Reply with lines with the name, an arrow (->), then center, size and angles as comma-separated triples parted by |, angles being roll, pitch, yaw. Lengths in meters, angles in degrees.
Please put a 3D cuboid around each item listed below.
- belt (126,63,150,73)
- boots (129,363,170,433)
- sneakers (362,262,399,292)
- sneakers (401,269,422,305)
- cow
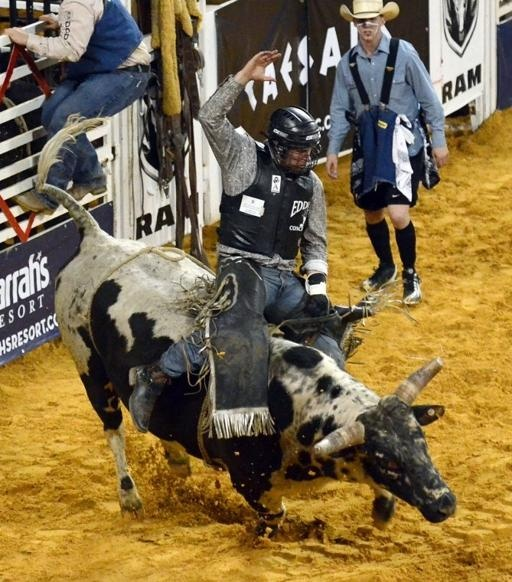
belt -> -0.864, -1.598, 7.012 | 0.100, 0.034, 0.137 | 1, 4, 21
boots -> -0.558, 0.532, 5.117 | 0.170, 0.150, 0.412 | -15, 57, 19
sneakers -> 0.993, -0.104, 7.907 | 0.273, 0.118, 0.099 | -39, 25, -18
sneakers -> 1.261, -0.019, 8.103 | 0.115, 0.152, 0.355 | -2, 39, 5
cow -> -0.136, 0.229, 6.055 | 2.884, 2.021, 0.924 | 30, 48, 29
